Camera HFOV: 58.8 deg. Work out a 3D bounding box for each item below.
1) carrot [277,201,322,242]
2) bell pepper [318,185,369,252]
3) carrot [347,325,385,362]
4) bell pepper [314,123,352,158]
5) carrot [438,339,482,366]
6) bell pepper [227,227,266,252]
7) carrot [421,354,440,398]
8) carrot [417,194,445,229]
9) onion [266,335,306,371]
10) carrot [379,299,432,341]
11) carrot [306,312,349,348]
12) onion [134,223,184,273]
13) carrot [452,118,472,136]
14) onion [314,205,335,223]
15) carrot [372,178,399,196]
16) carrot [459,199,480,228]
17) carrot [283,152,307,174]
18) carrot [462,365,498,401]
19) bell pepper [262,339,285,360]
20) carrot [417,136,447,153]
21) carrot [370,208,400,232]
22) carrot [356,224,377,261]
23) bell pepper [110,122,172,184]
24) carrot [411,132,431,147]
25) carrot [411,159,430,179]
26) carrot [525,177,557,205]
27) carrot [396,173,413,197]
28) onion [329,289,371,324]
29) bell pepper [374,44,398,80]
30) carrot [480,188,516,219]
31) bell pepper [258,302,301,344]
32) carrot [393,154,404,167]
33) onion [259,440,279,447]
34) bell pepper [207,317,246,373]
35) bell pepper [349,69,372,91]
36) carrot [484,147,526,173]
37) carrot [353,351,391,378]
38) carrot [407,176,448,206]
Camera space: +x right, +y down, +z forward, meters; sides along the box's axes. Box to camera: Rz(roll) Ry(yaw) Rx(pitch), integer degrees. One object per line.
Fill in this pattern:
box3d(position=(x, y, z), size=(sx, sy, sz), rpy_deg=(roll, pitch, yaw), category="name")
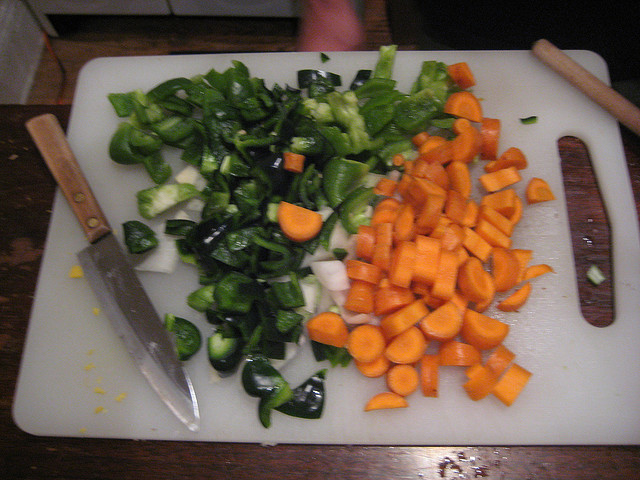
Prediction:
box3d(position=(-0.087, -0.067, 2.299), size=(0.059, 0.284, 0.138), rpy_deg=(-1, 90, 40), category="carrot")
box3d(position=(0.138, -0.127, 2.287), size=(0.136, 0.499, 0.080), rpy_deg=(-35, 114, 10), category="bell pepper")
box3d(position=(0.177, 0.395, 2.180), size=(0.140, 0.020, 0.137), rpy_deg=(2, 70, 0), category="carrot")
box3d(position=(0.062, -0.415, 2.346), size=(0.174, 0.042, 0.116), rpy_deg=(44, 112, -2), category="bell pepper")
box3d(position=(0.529, 0.433, 2.159), size=(0.146, 0.121, 0.061), rpy_deg=(6, 80, -1), category="carrot")
box3d(position=(-0.295, -0.008, 2.264), size=(0.167, 0.027, 0.073), rpy_deg=(-21, 72, -8), category="bell pepper")
box3d(position=(0.419, 0.517, 2.171), size=(0.086, 0.202, 0.163), rpy_deg=(-1, 83, 16), category="carrot")
box3d(position=(0.434, -0.110, 2.207), size=(0.084, 0.124, 0.124), rpy_deg=(31, 104, 3), category="carrot")
box3d(position=(-0.139, 0.444, 2.259), size=(0.103, 0.036, 0.166), rpy_deg=(39, 82, -5), category="onion")
box3d(position=(0.320, 0.299, 2.149), size=(0.196, 0.150, 0.053), rpy_deg=(-15, 49, -17), category="carrot")
box3d(position=(0.030, 0.342, 2.143), size=(0.182, 0.063, 0.117), rpy_deg=(3, 81, 2), category="carrot")
box3d(position=(-0.636, 0.036, 2.218), size=(0.283, 0.063, 0.178), rpy_deg=(-1, 83, -7), category="onion")
box3d(position=(0.596, -0.466, 2.356), size=(0.096, 0.026, 0.063), rpy_deg=(5, 80, 7), category="carrot")
box3d(position=(0.016, -0.108, 2.308), size=(0.069, 0.030, 0.057), rpy_deg=(26, 85, 5), category="onion")
box3d(position=(0.271, -0.214, 2.381), size=(0.103, 0.083, 0.059), rpy_deg=(12, 119, -9), category="carrot")
box3d(position=(0.600, -0.108, 2.278), size=(0.079, 0.042, 0.104), rpy_deg=(23, 81, 2), category="carrot")
box3d(position=(-0.103, -0.313, 2.303), size=(0.116, 0.077, 0.065), rpy_deg=(16, 76, 2), category="carrot")
box3d(position=(0.618, 0.555, 2.220), size=(0.141, 0.142, 0.087), rpy_deg=(-37, 93, 25), category="carrot")
box3d(position=(-0.181, 0.427, 2.201), size=(0.106, 0.023, 0.067), rpy_deg=(8, 82, -2), category="bell pepper")
box3d(position=(0.470, -0.402, 2.377), size=(0.110, 0.025, 0.059), rpy_deg=(-24, 65, -8), category="carrot")
box3d(position=(0.253, -0.079, 2.243), size=(0.117, 0.030, 0.080), rpy_deg=(13, 88, 16), category="carrot")
box3d(position=(0.185, 0.011, 2.236), size=(0.109, 0.156, 0.135), rpy_deg=(5, 96, 4), category="carrot")
box3d(position=(-0.771, -0.358, 2.446), size=(0.332, 0.084, 0.202), rpy_deg=(28, 87, -20), category="bell pepper")
box3d(position=(0.424, -0.428, 2.391), size=(0.072, 0.052, 0.037), rpy_deg=(-24, 111, 27), category="carrot")
box3d(position=(0.403, -0.287, 2.304), size=(0.029, 0.081, 0.066), rpy_deg=(31, 84, -39), category="carrot")
box3d(position=(0.921, -0.205, 2.385), size=(0.141, 0.037, 0.096), rpy_deg=(-7, 84, 2), category="carrot")
box3d(position=(0.340, -0.230, 2.298), size=(0.025, 0.078, 0.074), rpy_deg=(25, 33, -27), category="carrot")
box3d(position=(0.104, 0.271, 2.244), size=(0.170, 0.044, 0.126), rpy_deg=(-18, 71, 10), category="onion")
box3d(position=(0.287, -0.784, 2.489), size=(0.080, 0.040, 0.169), rpy_deg=(14, 98, -3), category="bell pepper")
box3d(position=(0.728, -0.146, 2.312), size=(0.148, 0.051, 0.104), rpy_deg=(7, 78, 29), category="carrot")
box3d(position=(-0.158, 0.352, 2.208), size=(0.156, 0.046, 0.092), rpy_deg=(8, 71, 2), category="bell pepper")
box3d(position=(0.325, -0.332, 2.361), size=(0.057, 0.024, 0.039), rpy_deg=(2, 86, 13), category="carrot")
box3d(position=(-0.195, 0.782, 2.172), size=(0.048, 0.029, 0.009), rpy_deg=(-4, 95, 7), category="onion")
box3d(position=(-0.390, 0.437, 2.261), size=(0.070, 0.261, 0.156), rpy_deg=(12, 79, -24), category="bell pepper")
box3d(position=(0.179, -0.708, 2.493), size=(0.068, 0.028, 0.110), rpy_deg=(32, 82, 7), category="bell pepper")
box3d(position=(0.785, -0.332, 2.372), size=(0.176, 0.094, 0.069), rpy_deg=(-14, 103, 23), category="carrot")
box3d(position=(0.203, 0.475, 2.177), size=(0.153, 0.033, 0.103), rpy_deg=(-4, 80, -1), category="carrot")
box3d(position=(0.416, -0.194, 2.260), size=(0.141, 0.127, 0.044), rpy_deg=(24, 107, 4), category="carrot")
